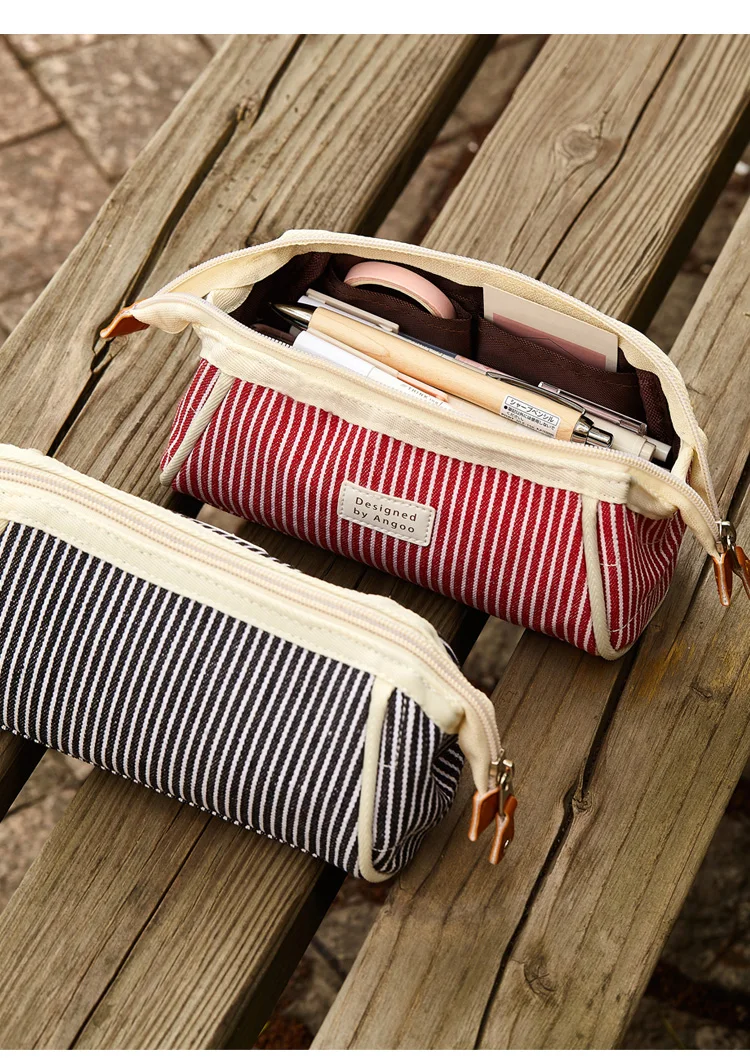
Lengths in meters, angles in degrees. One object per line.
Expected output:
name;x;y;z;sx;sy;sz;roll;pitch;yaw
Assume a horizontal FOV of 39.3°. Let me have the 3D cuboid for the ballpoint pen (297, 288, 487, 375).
ballpoint pen;0.017;-0.206;0.997;0.026;0.031;0.323;8;4;34
